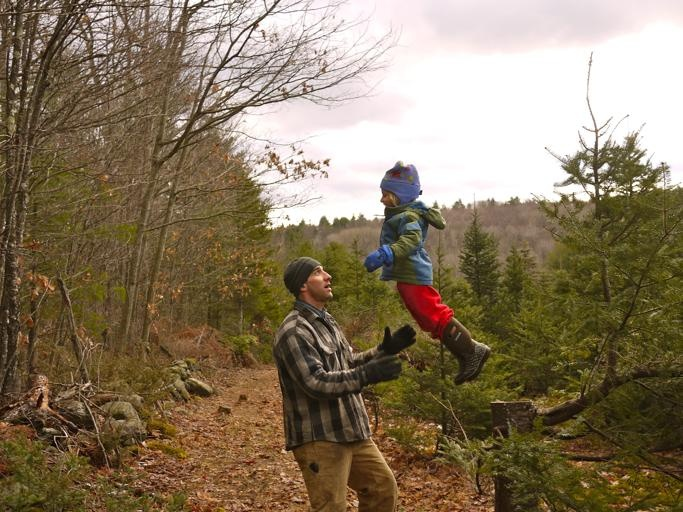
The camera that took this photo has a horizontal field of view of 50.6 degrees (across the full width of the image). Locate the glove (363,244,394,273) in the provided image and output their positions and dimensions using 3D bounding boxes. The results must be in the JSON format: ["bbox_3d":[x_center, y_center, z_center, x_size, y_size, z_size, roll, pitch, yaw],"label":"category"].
[{"bbox_3d":[0.371,0.033,7.665,0.306,0.148,0.238,-17,-3,-29],"label":"glove"}]

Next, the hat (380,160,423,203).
[{"bbox_3d":[0.700,-0.871,8.401,0.481,0.470,0.440,-4,17,-29],"label":"hat"}]
